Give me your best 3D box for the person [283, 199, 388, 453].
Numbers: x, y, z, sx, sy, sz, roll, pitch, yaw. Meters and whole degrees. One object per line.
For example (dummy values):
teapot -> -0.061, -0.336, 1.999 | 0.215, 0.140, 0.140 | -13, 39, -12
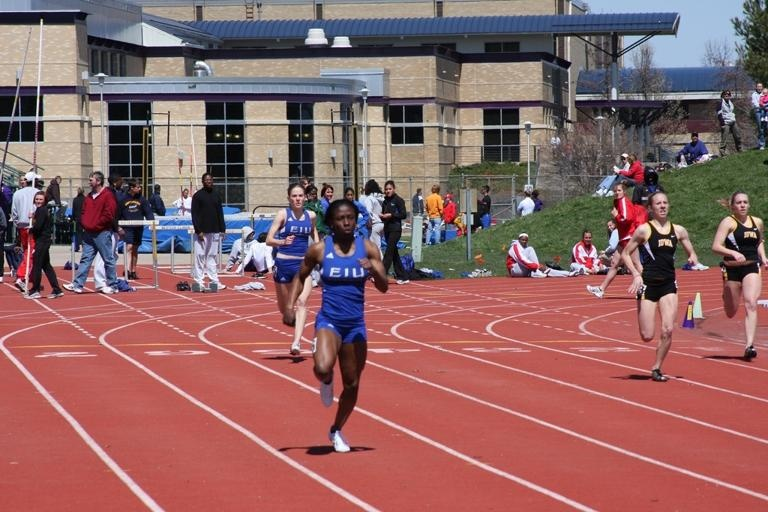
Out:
person -> -0.483, 0.755, 11.571 | 1.115, 2.552, 1.394 | 1, -2, -5

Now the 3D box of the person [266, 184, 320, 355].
person -> -1.538, 0.125, 15.478 | 0.912, 2.598, 1.059 | 0, -1, 2

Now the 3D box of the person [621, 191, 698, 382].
person -> 3.747, 0.332, 14.941 | 1.062, 2.760, 1.238 | 1, 0, 22
